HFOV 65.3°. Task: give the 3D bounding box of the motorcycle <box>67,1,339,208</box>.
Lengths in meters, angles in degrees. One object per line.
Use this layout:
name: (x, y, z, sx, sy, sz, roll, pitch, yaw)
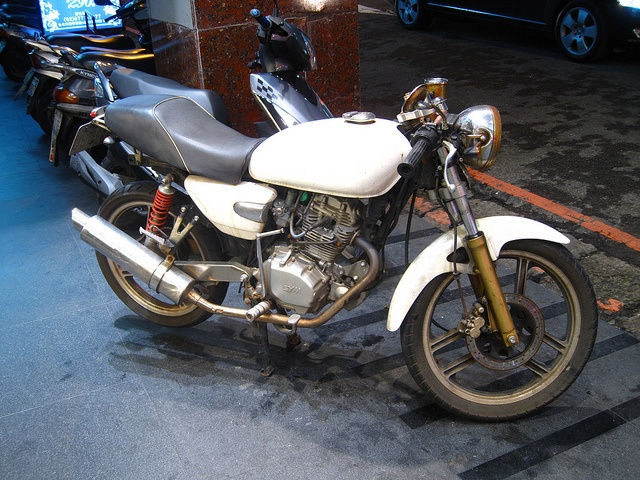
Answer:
motorcycle: (-0.657, -1.196, 4.366, 2.856, 1.551, 1.095, -1, 18, -4)
